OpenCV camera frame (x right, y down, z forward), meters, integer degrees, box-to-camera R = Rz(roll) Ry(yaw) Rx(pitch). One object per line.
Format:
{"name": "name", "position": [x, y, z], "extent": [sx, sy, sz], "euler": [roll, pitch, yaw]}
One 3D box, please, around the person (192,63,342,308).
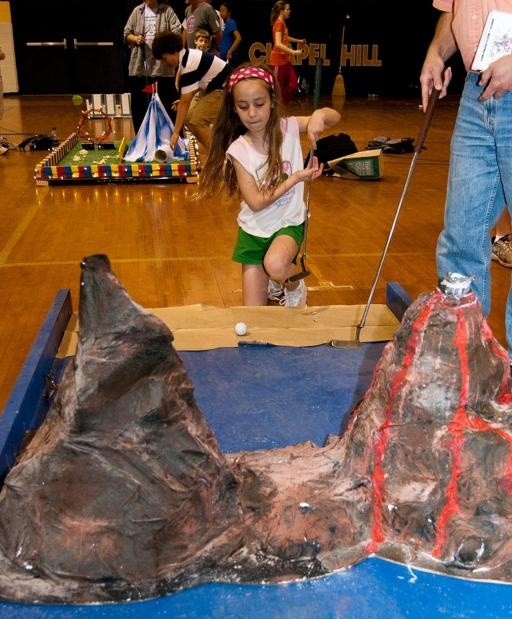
{"name": "person", "position": [0.083, -0.636, 2.912], "extent": [0.602, 1.260, 0.736], "euler": [-17, 26, -36]}

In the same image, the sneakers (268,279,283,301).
{"name": "sneakers", "position": [0.115, -0.120, 3.044], "extent": [0.068, 0.119, 0.086], "euler": [-30, 5, 16]}

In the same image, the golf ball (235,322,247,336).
{"name": "golf ball", "position": [-0.065, 0.087, 2.456], "extent": [0.056, 0.058, 0.054], "euler": [9, -3, 0]}

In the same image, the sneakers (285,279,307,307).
{"name": "sneakers", "position": [0.219, -0.074, 2.937], "extent": [0.073, 0.184, 0.087], "euler": [2, -5, 37]}
